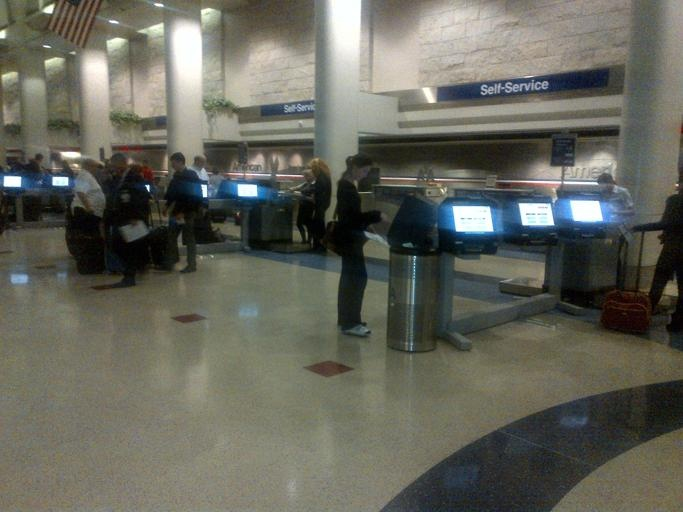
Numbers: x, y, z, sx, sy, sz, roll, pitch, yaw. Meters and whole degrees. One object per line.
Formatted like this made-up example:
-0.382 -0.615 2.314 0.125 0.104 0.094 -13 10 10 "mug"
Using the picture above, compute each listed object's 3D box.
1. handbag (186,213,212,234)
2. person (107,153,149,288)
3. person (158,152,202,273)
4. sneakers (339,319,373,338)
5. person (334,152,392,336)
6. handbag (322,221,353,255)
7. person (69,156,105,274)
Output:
-2.691 -0.635 10.260 0.401 0.467 0.426 -5 -1 11 "handbag"
-2.793 -0.473 6.949 0.517 1.750 1.249 -4 15 -22 "person"
-2.390 -0.651 7.964 0.592 1.775 1.023 -2 14 -14 "person"
0.140 0.736 5.231 0.319 0.128 0.114 0 2 6 "sneakers"
0.149 -0.091 5.072 0.460 1.733 0.322 2 14 2 "person"
-0.030 -0.175 5.007 0.225 0.307 0.082 6 25 41 "handbag"
-3.468 -0.499 7.213 0.469 1.604 1.289 -7 16 -30 "person"
